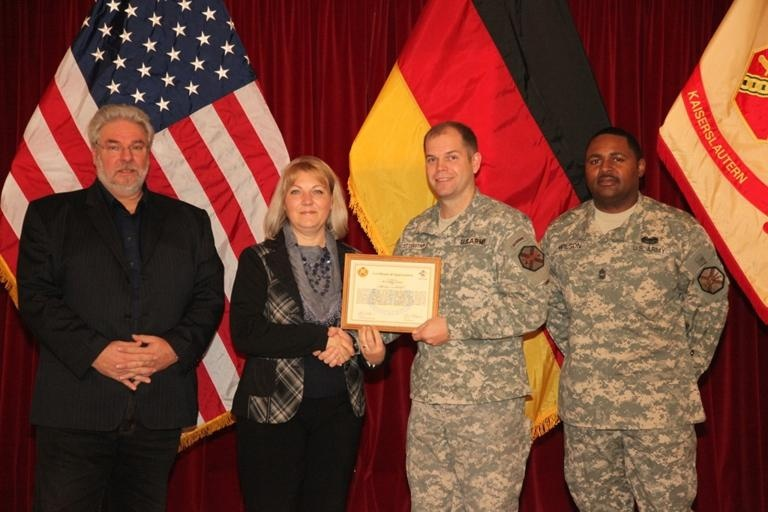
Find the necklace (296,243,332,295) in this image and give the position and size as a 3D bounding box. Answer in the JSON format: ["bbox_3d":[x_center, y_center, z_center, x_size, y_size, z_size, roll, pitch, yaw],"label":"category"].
[{"bbox_3d":[-0.412,0.082,4.665,0.182,0.303,0.060,-8,-5,-25],"label":"necklace"}]

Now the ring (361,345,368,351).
[{"bbox_3d":[-0.129,0.551,4.596,0.027,0.041,0.009,3,8,20],"label":"ring"}]

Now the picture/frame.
[{"bbox_3d":[0.038,0.230,4.619,0.414,0.392,0.038,2,1,-1],"label":"picture/frame"}]
